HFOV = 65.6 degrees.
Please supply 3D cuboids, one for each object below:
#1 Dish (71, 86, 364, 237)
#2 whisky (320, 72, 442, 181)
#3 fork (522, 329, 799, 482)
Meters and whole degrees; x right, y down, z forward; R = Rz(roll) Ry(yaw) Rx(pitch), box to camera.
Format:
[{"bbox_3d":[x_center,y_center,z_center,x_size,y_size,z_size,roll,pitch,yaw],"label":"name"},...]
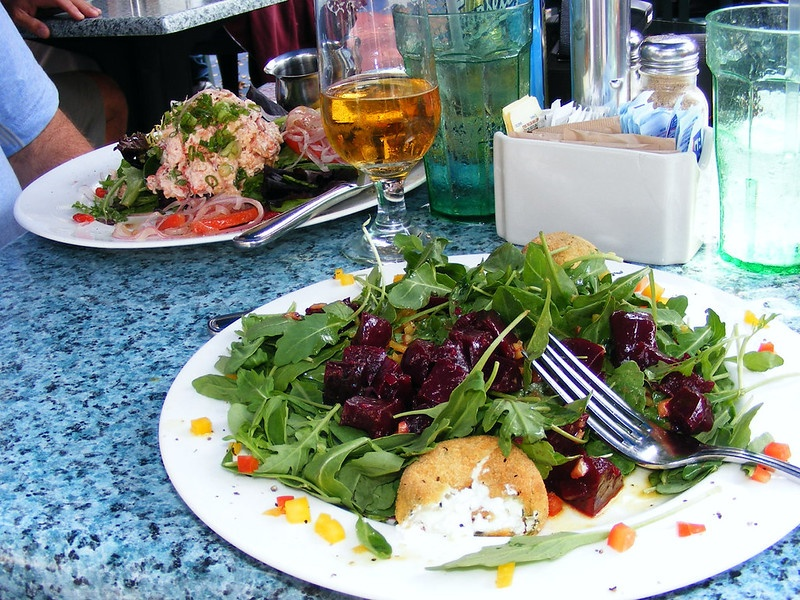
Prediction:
[{"bbox_3d":[-0.389,-0.243,1.460,0.474,0.156,0.465,-33,29,-34],"label":"Dish"},{"bbox_3d":[-0.029,-0.289,1.021,0.167,0.119,0.161,0,26,6],"label":"whisky"},{"bbox_3d":[0.292,0.125,0.704,0.293,0.041,0.033,27,69,23],"label":"fork"}]
